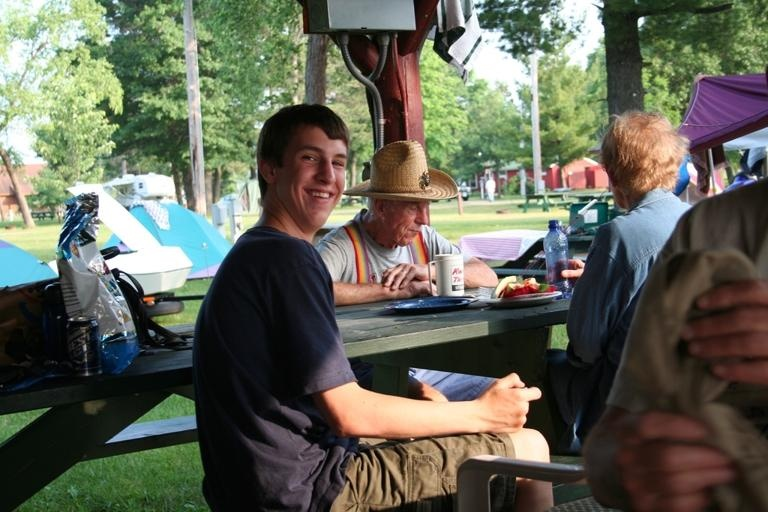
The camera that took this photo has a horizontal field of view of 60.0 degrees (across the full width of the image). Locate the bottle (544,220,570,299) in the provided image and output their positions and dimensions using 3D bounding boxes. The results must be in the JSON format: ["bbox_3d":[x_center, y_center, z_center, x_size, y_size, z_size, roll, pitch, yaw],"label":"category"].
[{"bbox_3d":[0.908,0.003,3.504,0.109,0.431,0.110,-9,26,4],"label":"bottle"}]

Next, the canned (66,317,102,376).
[{"bbox_3d":[-0.999,0.303,2.216,0.104,0.181,0.107,-2,1,24],"label":"canned"}]

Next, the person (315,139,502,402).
[{"bbox_3d":[0.087,0.125,3.817,1.097,1.433,1.088,-4,10,-19],"label":"person"}]

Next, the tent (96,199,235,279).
[{"bbox_3d":[-3.965,-0.197,12.604,2.781,1.661,2.130,-8,12,-31],"label":"tent"}]
